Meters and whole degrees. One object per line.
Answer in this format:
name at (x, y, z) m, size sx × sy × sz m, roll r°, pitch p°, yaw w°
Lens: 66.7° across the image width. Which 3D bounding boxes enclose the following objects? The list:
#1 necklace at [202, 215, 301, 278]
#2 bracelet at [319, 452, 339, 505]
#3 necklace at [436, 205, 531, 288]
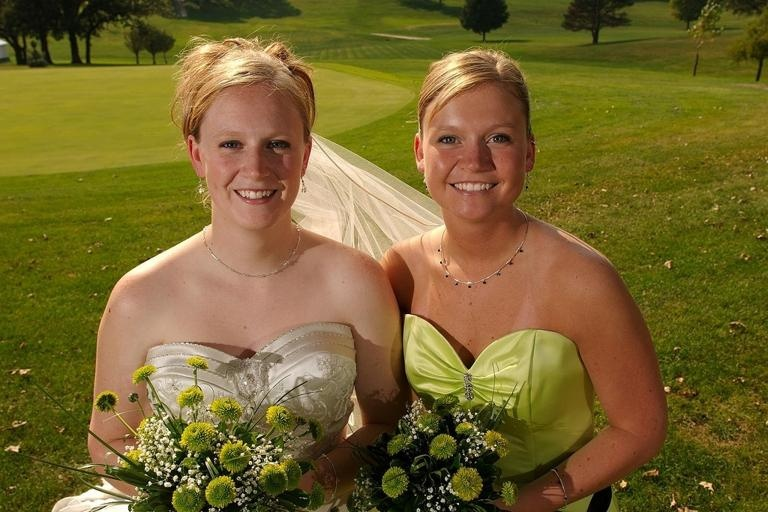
necklace at (-1.006, -0.094, 4.918) m, size 0.579 × 0.540 × 0.136 m, roll -13°, pitch 6°, yaw -1°
bracelet at (-0.370, 1.728, 4.516) m, size 0.119 × 0.317 × 0.233 m, roll -14°, pitch -5°, yaw -5°
necklace at (0.823, 0.023, 4.790) m, size 0.609 × 0.717 × 0.093 m, roll -14°, pitch -24°, yaw 32°
